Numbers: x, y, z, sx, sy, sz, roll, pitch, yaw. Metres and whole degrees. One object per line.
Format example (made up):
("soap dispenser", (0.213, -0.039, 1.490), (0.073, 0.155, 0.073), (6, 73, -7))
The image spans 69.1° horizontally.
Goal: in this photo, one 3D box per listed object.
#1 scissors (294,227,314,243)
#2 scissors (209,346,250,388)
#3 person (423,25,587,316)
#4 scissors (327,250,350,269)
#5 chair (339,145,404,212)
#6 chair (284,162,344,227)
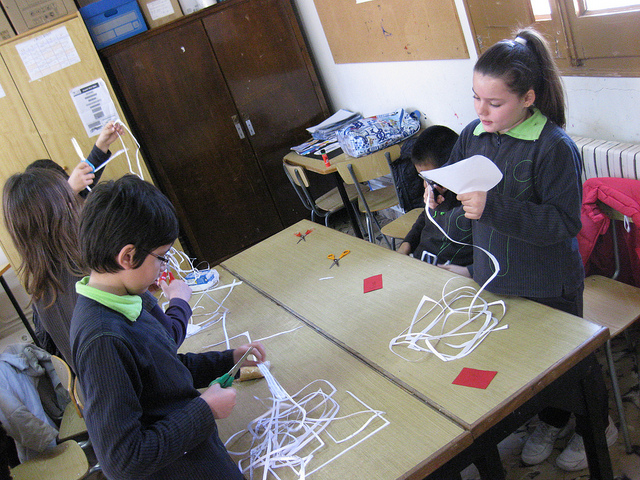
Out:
("scissors", (-0.089, -0.033, 2.698), (0.121, 0.023, 0.142), (-16, 19, 0))
("scissors", (-0.316, 0.452, 1.636), (0.061, 0.034, 0.297), (-29, 0, 21))
("person", (0.722, -0.111, 1.706), (0.422, 1.193, 0.532), (-4, 23, 29))
("scissors", (0.096, 0.091, 2.325), (0.114, 0.019, 0.139), (-15, 19, 2))
("chair", (0.383, -0.480, 3.550), (0.325, 0.465, 0.308), (-21, 44, 10))
("chair", (-0.069, -0.434, 4.135), (0.357, 0.525, 0.313), (-22, 37, -12))
